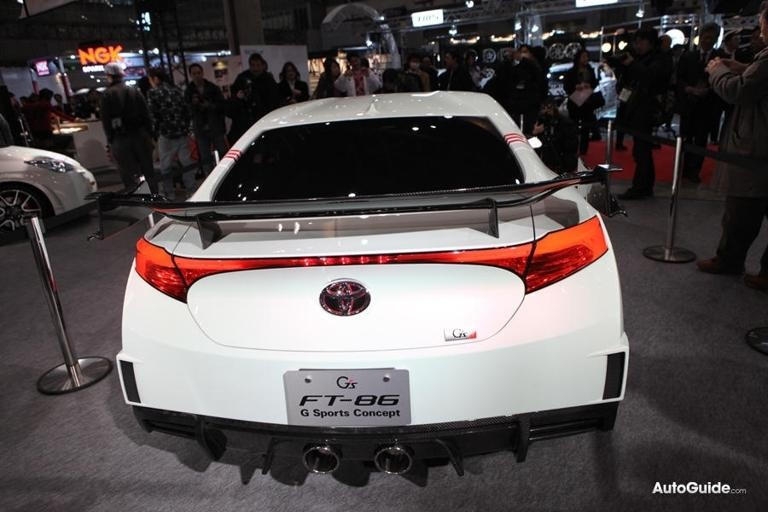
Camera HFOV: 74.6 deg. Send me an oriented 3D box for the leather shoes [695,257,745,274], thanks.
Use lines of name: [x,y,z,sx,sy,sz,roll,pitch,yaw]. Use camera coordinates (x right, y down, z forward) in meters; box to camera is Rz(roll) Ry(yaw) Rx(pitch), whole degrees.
leather shoes: [2.890,0.107,4.356,0.343,0.149,0.137,9,26,33]

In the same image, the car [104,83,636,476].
car: [0.047,-0.498,3.946,2.567,1.475,4.367,-3,23,3]
